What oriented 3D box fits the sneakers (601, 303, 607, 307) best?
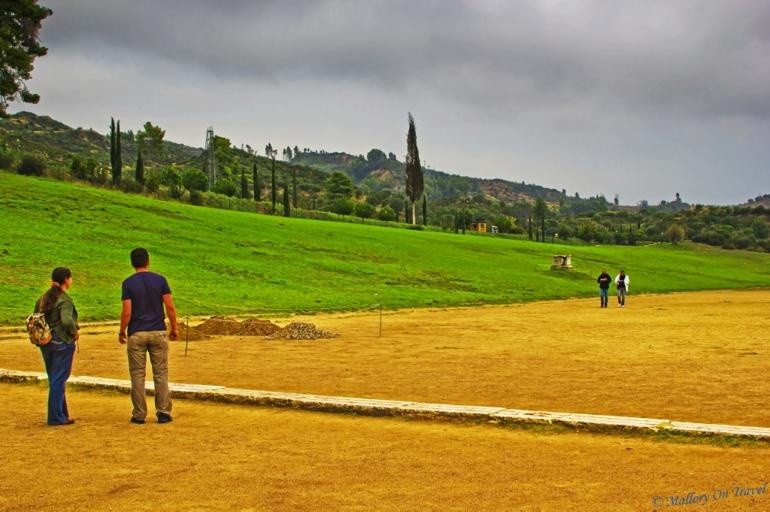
[{"bbox_3d":[14.987,3.371,67.850,0.276,0.193,0.151,4,9,19],"label":"sneakers"}]
